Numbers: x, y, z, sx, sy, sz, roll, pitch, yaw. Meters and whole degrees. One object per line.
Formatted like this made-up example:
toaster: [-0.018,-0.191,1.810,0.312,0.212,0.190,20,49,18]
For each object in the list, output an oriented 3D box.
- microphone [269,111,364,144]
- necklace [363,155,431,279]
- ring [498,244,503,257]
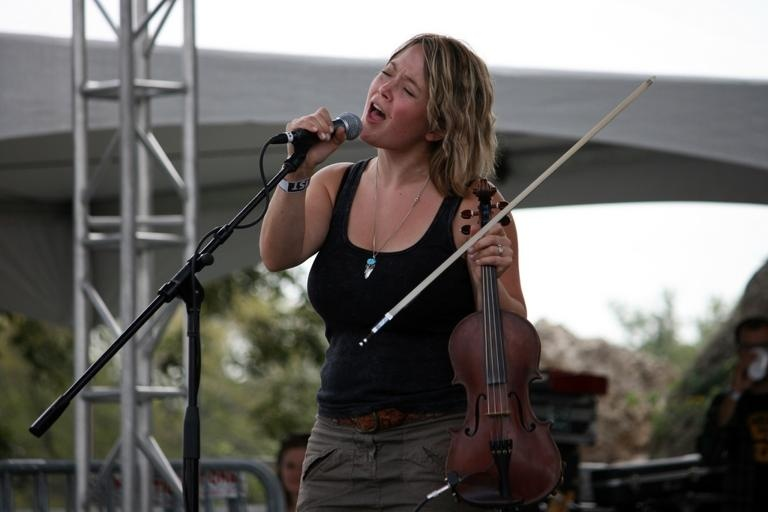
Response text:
microphone: [-0.392,-0.831,11.322,0.741,0.210,0.199,-11,22,-30]
necklace: [0.078,-0.244,11.446,0.380,0.699,0.417,-2,2,1]
ring: [0.741,-0.039,11.230,0.045,0.062,0.023,2,-2,-7]
